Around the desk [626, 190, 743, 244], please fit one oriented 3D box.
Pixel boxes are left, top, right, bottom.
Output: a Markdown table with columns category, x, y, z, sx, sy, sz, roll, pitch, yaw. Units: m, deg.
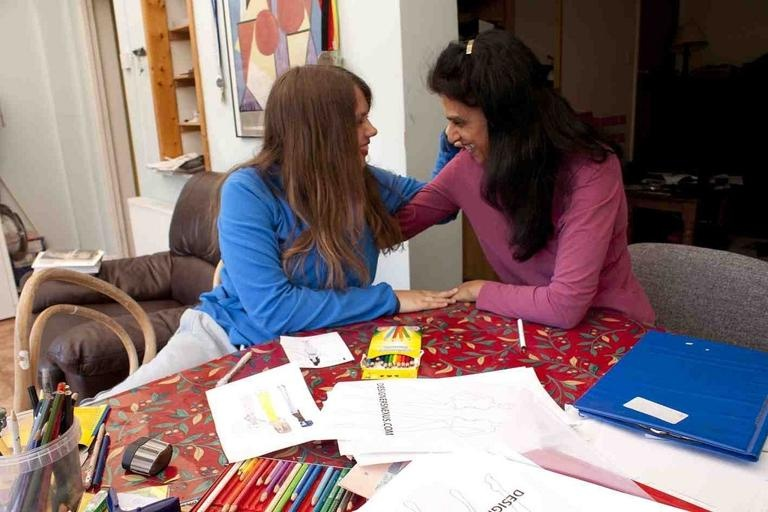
| category | x | y | z | sx | sy | sz | roll | pitch | yaw |
| --- | --- | --- | --- | --- | --- | --- | --- | --- | --- |
| desk | 1.717 | -0.277 | 3.261 | 0.348 | 0.323 | 0.350 | 11 | 15 | 42 |

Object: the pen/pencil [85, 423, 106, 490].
| category | x | y | z | sx | sy | sz | roll | pitch | yaw |
| --- | --- | --- | --- | --- | --- | --- | --- | --- | --- |
| pen/pencil | -0.592 | 0.403 | 1.117 | 0.022 | 0.022 | 0.208 | -20 | 24 | -16 |

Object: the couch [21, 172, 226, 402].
| category | x | y | z | sx | sy | sz | roll | pitch | yaw |
| --- | --- | --- | --- | --- | --- | --- | --- | --- | --- |
| couch | -1.317 | 0.092 | 2.687 | 0.931 | 0.889 | 0.917 | -11 | 35 | -28 |

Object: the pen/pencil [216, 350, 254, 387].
| category | x | y | z | sx | sy | sz | roll | pitch | yaw |
| --- | --- | --- | --- | --- | --- | --- | --- | --- | --- |
| pen/pencil | -0.368 | 0.280 | 1.336 | 0.027 | 0.019 | 0.112 | -2 | 30 | 23 |
